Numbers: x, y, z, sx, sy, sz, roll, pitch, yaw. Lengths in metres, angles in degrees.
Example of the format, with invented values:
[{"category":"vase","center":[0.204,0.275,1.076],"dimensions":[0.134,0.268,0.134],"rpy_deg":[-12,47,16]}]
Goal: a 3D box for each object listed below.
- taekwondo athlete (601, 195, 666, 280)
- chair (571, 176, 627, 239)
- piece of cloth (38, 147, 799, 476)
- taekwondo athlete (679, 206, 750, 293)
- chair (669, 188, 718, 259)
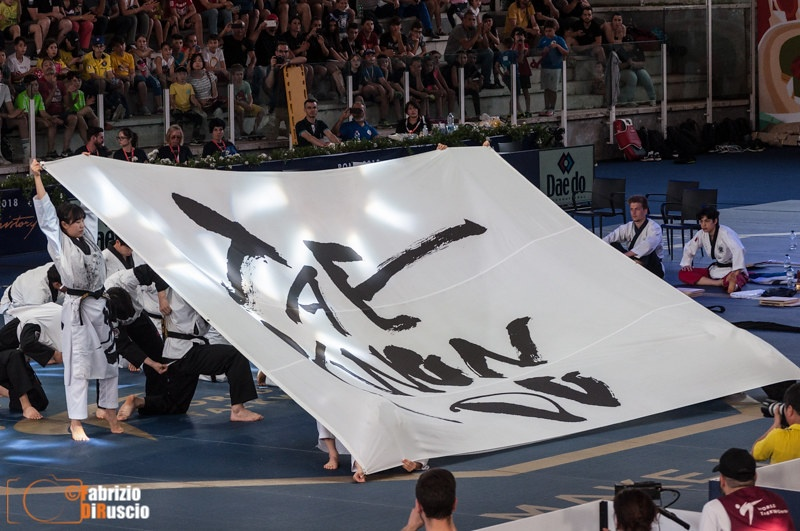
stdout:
[{"category":"taekwondo athlete","center":[3.940,-0.482,27.522],"dimensions":[1.059,1.387,1.035],"rpy_deg":[3,7,34]},{"category":"chair","center":[3.626,-1.052,31.026],"dimensions":[0.778,0.918,0.768],"rpy_deg":[-4,2,29]},{"category":"piece of cloth","center":[0.337,0.352,22.665],"dimensions":[8.183,3.210,2.831],"rpy_deg":[-4,2,-17]},{"category":"taekwondo athlete","center":[5.507,-0.308,27.806],"dimensions":[1.071,1.416,1.500],"rpy_deg":[-6,7,-26]},{"category":"chair","center":[5.246,-0.813,29.818],"dimensions":[0.942,1.139,0.938],"rpy_deg":[-1,5,7]}]
